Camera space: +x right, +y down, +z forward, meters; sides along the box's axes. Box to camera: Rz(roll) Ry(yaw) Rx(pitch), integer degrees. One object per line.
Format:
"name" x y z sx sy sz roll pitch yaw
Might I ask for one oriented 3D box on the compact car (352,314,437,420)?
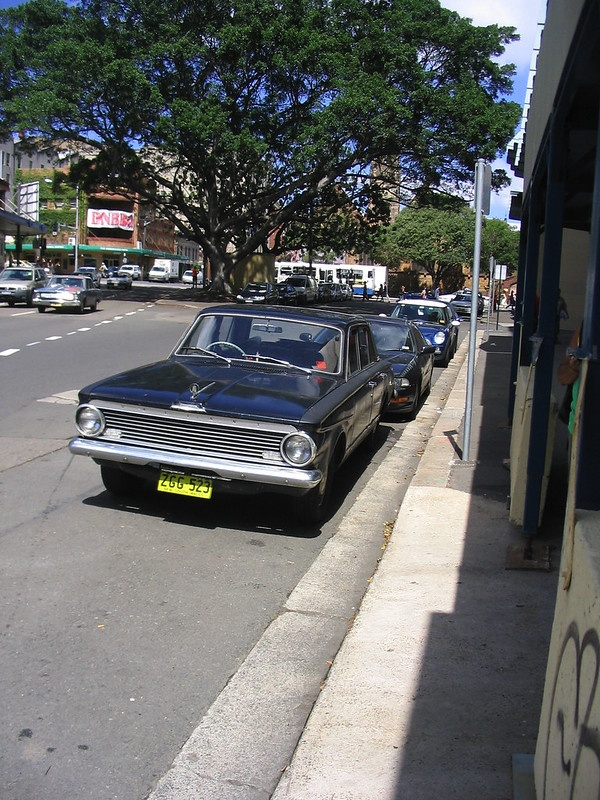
"compact car" 1.874 -0.687 11.275 1.193 0.806 2.460 5 13 11

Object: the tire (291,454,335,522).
"tire" 0.091 0.692 4.782 0.219 0.645 0.650 0 4 7

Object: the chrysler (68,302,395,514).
"chrysler" -0.356 -0.117 5.925 1.672 1.118 2.859 5 10 15
